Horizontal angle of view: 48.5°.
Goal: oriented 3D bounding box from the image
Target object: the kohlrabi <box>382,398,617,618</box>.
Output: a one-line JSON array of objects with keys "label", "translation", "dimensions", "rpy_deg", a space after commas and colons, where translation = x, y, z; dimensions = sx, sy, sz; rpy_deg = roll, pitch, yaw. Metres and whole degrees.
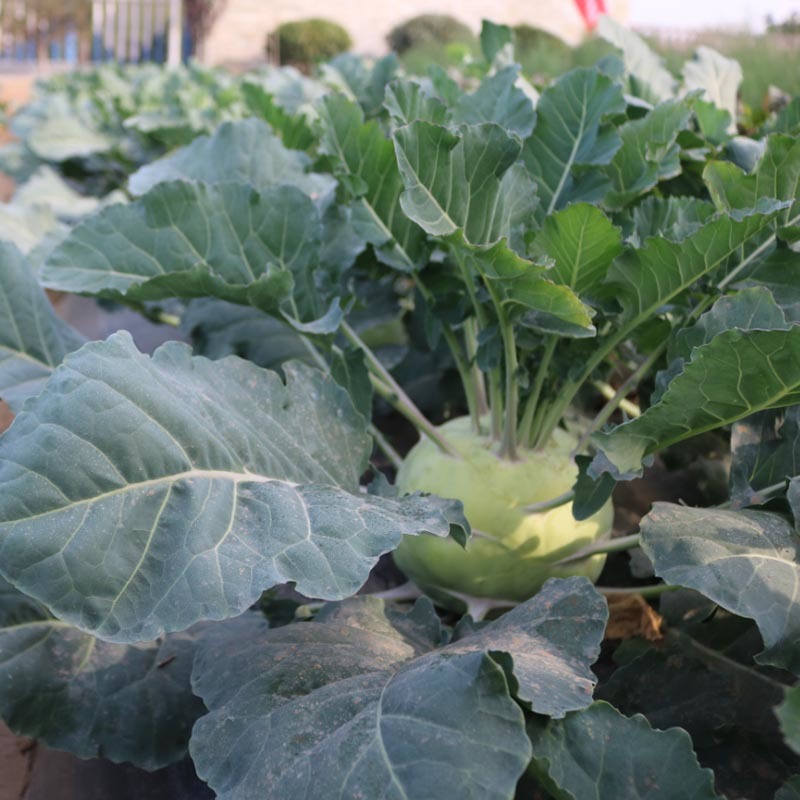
[{"label": "kohlrabi", "translation": [0.108, 0.118, 1.012], "dimensions": [0.206, 0.166, 0.202], "rpy_deg": [-38, 61, -26]}]
